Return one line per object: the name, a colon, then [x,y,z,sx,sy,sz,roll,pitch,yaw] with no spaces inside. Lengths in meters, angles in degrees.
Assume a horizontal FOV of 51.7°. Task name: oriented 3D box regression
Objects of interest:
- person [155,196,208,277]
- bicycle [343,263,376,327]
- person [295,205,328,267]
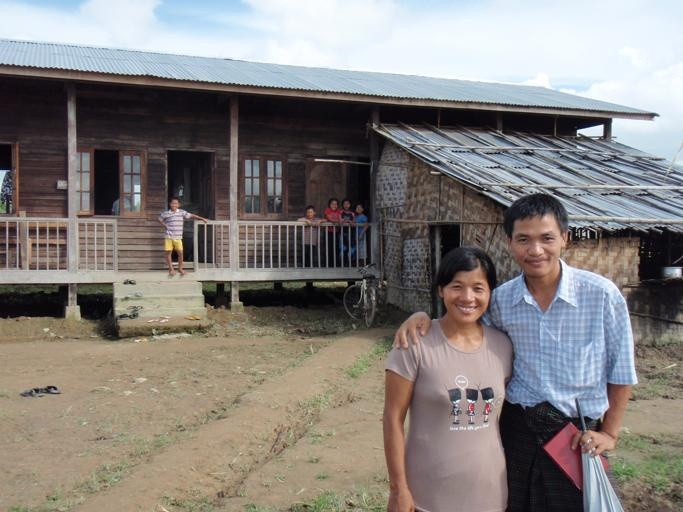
person: [-3.549,-0.488,15.162,0.756,1.549,2.365,-2,7,-14]
bicycle: [0.455,0.812,14.584,0.648,1.057,1.761,-16,-7,17]
person: [-0.624,-0.436,15.451,0.535,1.350,1.369,0,6,-2]
